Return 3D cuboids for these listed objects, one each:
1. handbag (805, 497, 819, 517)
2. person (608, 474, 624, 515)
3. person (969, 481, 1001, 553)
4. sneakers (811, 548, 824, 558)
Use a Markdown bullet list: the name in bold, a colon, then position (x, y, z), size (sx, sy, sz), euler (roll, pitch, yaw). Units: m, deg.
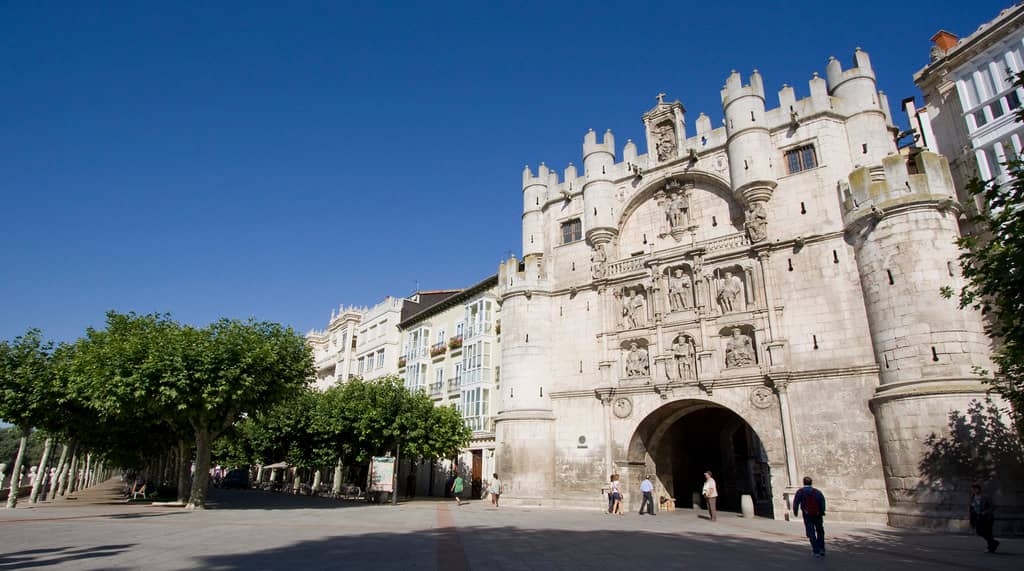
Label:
- **handbag**: position (13.206, 9.816, 25.234), size (0.709, 0.769, 0.364), euler (-5, -20, 7)
- **person**: position (6.696, 13.930, 37.923), size (0.721, 2.485, 1.374), euler (-2, -20, -3)
- **person**: position (21.686, 10.854, 26.560), size (0.938, 2.874, 1.653), euler (-17, -24, 33)
- **sneakers**: position (13.419, 11.840, 25.236), size (0.431, 0.265, 0.242), euler (-4, -19, 4)
